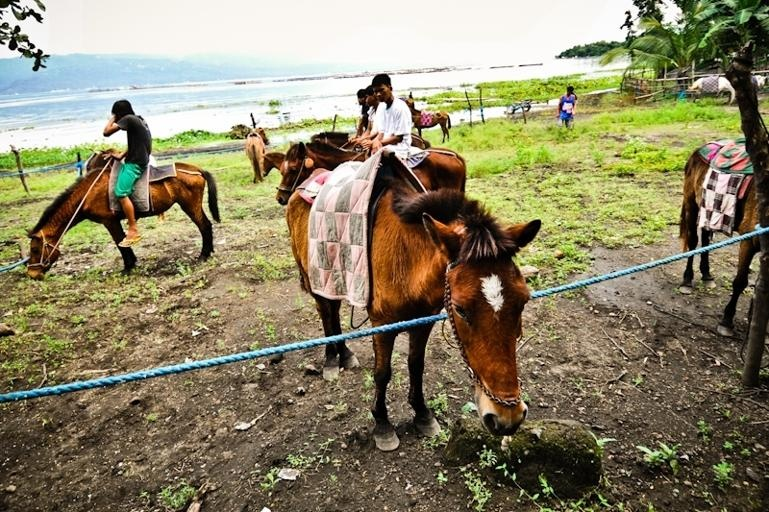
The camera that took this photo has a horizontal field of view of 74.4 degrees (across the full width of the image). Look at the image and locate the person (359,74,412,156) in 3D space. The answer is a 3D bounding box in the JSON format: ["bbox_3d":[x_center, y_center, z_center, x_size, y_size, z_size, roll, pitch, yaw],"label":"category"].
[{"bbox_3d":[0.041,-2.694,9.924,1.105,1.566,0.989,-17,22,-28],"label":"person"}]

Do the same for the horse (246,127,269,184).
[{"bbox_3d":[-4.154,-3.493,17.221,0.495,1.202,1.992,-12,0,-26],"label":"horse"}]

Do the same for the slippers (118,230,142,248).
[{"bbox_3d":[-5.178,-0.310,10.345,0.284,0.126,0.478,-1,21,14],"label":"slippers"}]
